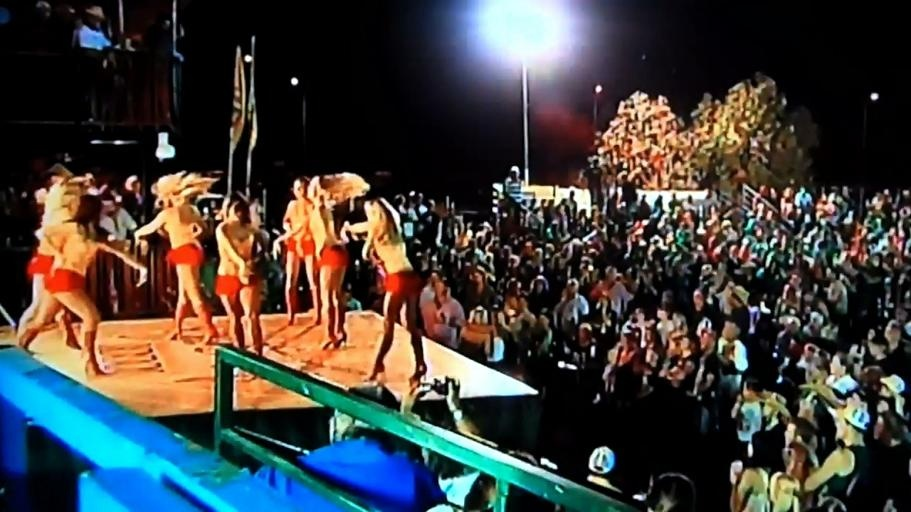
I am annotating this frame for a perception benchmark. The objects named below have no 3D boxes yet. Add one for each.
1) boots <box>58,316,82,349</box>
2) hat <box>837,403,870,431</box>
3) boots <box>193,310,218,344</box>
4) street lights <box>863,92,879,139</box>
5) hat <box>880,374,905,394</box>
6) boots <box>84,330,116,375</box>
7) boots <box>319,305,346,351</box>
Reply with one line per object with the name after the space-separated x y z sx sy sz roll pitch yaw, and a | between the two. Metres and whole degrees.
-5.873 1.116 10.433 0.128 0.561 0.301 -8 19 -25 | boots
5.143 2.067 8.777 0.356 0.337 0.168 2 2 -19 | hat
-3.820 1.089 10.610 0.284 0.532 0.533 2 2 -17 | boots
25.121 -8.479 41.773 0.594 2.798 0.972 2 2 -5 | street lights
5.896 1.740 9.275 0.299 0.258 0.158 3 2 8 | hat
-5.066 1.331 9.752 0.369 0.685 0.828 2 2 -28 | boots
-1.998 1.158 11.314 0.357 0.716 0.439 2 2 -8 | boots
